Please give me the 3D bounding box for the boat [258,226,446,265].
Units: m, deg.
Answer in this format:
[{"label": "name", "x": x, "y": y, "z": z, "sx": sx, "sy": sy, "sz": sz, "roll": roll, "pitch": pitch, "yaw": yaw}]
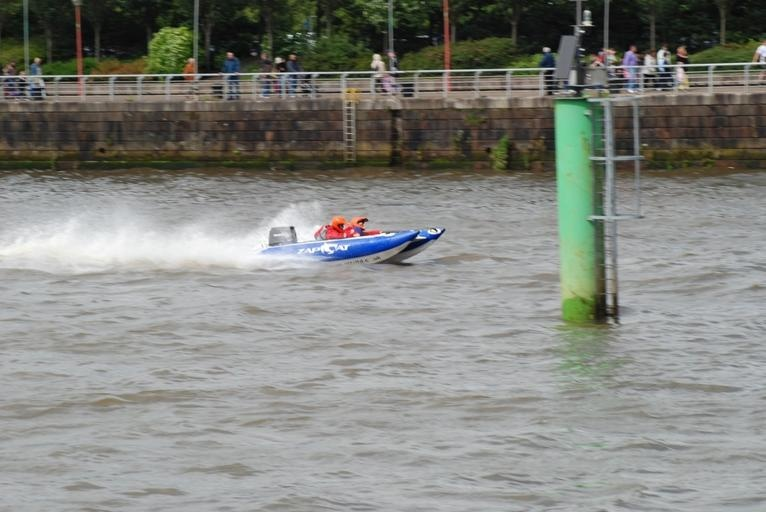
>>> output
[{"label": "boat", "x": -0.866, "y": -0.228, "z": 39.067, "sx": 4.186, "sy": 0.585, "sz": 1.414, "roll": -1, "pitch": 2, "yaw": 13}]
